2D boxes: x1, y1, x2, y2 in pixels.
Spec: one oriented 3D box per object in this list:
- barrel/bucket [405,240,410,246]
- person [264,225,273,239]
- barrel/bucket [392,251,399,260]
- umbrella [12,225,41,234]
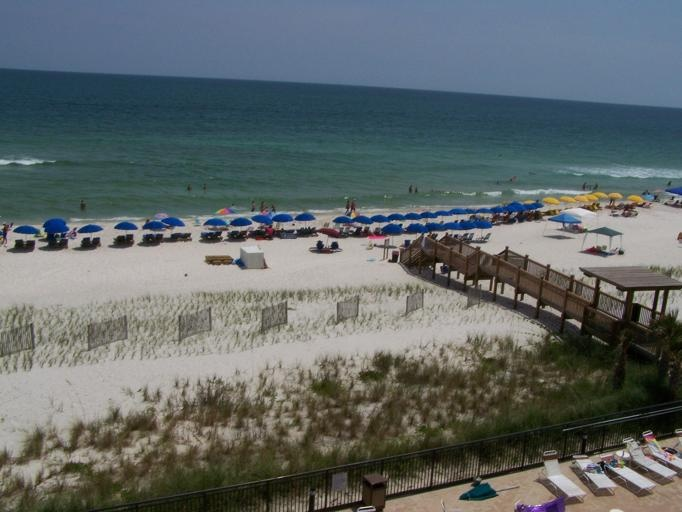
[{"bbox_3d":[4.425,-0.873,47.220,0.363,0.486,0.401,0,-2,26],"label":"barrel/bucket"},{"bbox_3d":[-5.089,-1.680,48.951,0.860,0.742,1.409,5,19,-5],"label":"person"},{"bbox_3d":[3.271,-0.015,42.968,0.475,0.654,0.452,1,-4,0],"label":"barrel/bucket"},{"bbox_3d":[-18.614,-1.541,42.331,1.041,0.322,1.034,6,3,24],"label":"umbrella"}]
